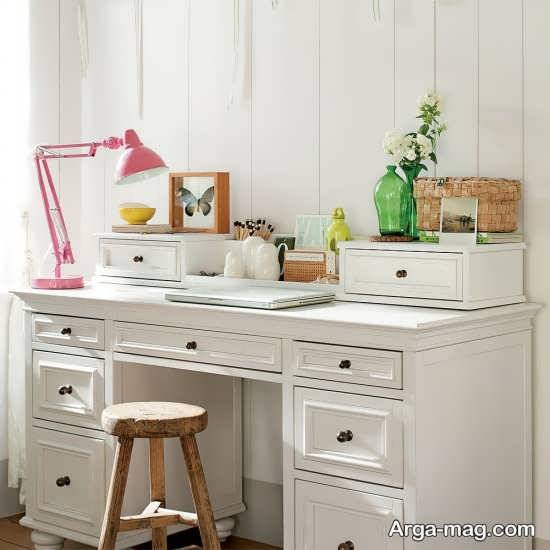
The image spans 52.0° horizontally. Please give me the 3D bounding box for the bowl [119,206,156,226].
[{"bbox_3d":[-0.558,-0.241,2.274,0.087,0.062,0.095,-2,-10,0],"label":"bowl"}]

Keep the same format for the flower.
[{"bbox_3d":[0.424,-0.390,1.728,0.193,0.336,0.184,-3,13,6],"label":"flower"}]

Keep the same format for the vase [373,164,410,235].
[{"bbox_3d":[0.360,-0.225,1.731,0.129,0.209,0.136,1,4,32],"label":"vase"}]
